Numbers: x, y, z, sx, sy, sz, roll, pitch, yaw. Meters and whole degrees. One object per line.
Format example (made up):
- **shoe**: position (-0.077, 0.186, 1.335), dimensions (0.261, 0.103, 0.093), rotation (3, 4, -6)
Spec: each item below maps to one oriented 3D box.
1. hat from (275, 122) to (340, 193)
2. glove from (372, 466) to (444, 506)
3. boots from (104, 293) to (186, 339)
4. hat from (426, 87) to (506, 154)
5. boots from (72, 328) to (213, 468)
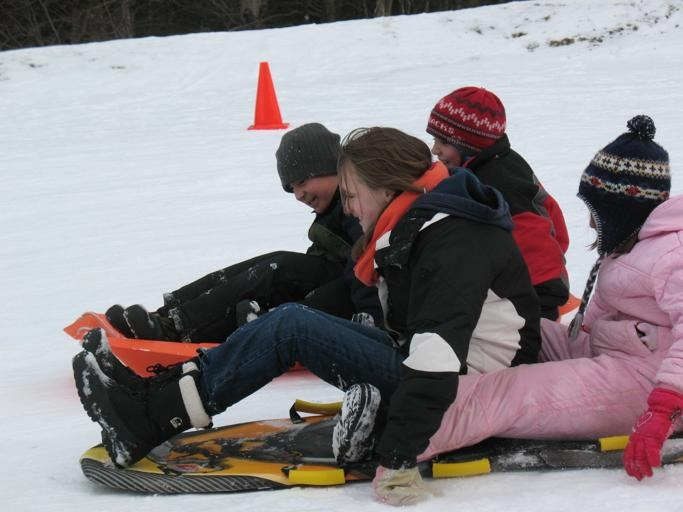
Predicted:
- **hat**: position (-0.234, -0.597, 5.690), dimensions (0.462, 0.322, 0.323), rotation (-26, 9, -17)
- **glove**: position (0.293, 1.042, 4.335), dimensions (0.272, 0.087, 0.176), rotation (-2, 3, -8)
- **boots**: position (-1.161, 0.371, 5.686), dimensions (0.412, 0.151, 0.226), rotation (3, 9, -10)
- **hat**: position (0.754, -0.839, 5.643), dimensions (0.480, 0.353, 0.395), rotation (18, 25, -2)
- **boots**: position (-0.944, 0.673, 4.557), dimensions (0.592, 0.653, 0.242), rotation (-6, 11, -13)
